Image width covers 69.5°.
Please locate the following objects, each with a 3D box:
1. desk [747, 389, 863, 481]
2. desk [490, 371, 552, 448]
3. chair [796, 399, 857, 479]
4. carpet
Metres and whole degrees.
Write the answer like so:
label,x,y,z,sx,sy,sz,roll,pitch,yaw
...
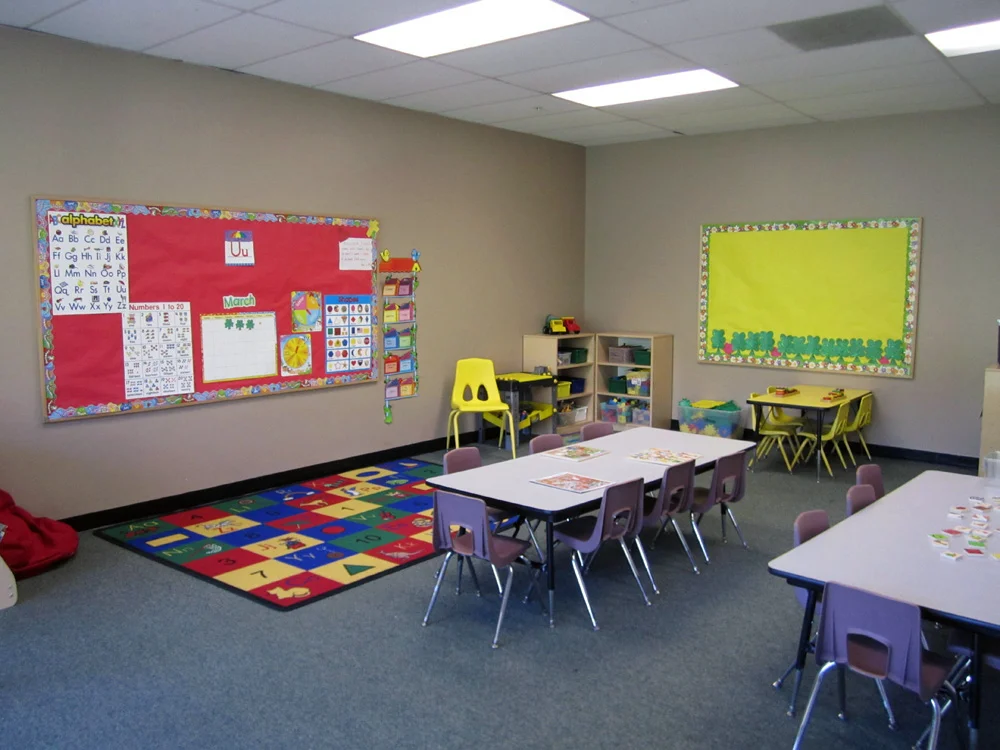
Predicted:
label,x,y,z,sx,sy,sz,roll,pitch,yaw
desk,3.168,0.513,7.490,0.842,0.655,1.197,4,8,34
desk,0.263,0.276,8.491,0.682,0.943,0.904,7,10,42
chair,3.351,0.590,7.375,0.559,0.744,1.297,5,12,23
carpet,-1.422,1.174,5.877,2.338,0.080,2.440,7,13,31
